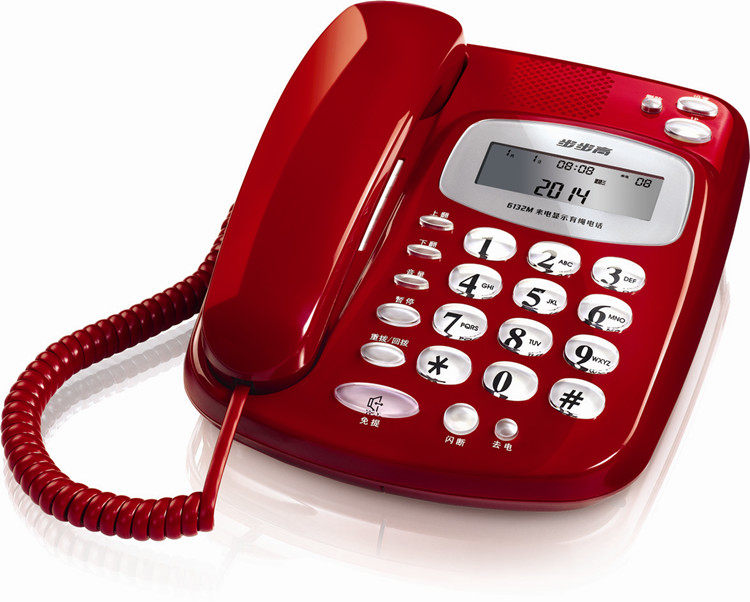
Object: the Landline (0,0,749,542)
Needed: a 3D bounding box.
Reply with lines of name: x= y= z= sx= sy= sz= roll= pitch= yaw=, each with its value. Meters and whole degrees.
Landline: x=0.120 y=-0.032 z=0.754 sx=0.681 sy=0.685 sz=0.206 roll=15 pitch=-37 yaw=17
